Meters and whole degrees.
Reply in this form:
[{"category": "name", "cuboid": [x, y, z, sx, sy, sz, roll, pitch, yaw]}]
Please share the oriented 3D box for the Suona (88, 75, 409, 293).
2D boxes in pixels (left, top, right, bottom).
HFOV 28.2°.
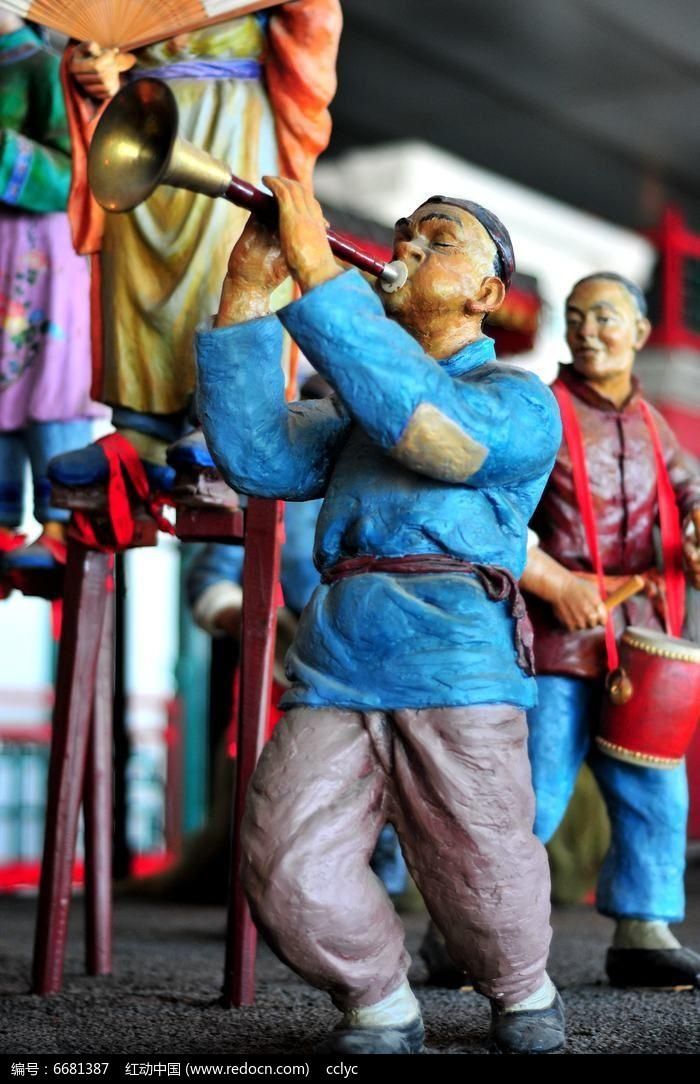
[{"category": "Suona", "cuboid": [-0.114, -0.485, 2.052, 0.535, 0.173, 0.171, 14, 41, -38]}]
